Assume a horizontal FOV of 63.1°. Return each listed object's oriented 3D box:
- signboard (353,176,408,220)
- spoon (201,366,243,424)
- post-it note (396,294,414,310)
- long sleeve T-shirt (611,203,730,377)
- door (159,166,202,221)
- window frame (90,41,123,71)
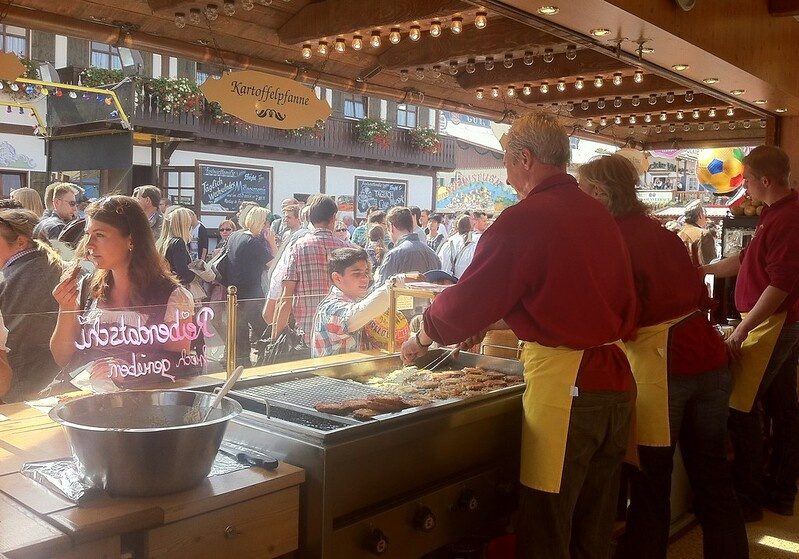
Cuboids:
[{"bbox_3d":[-0.536,-2.493,19.950,1.955,1.182,0.077,-4,9,-35],"label":"signboard"},{"bbox_3d":[-0.737,0.486,2.720,0.045,0.312,0.043,38,12,7],"label":"spoon"},{"bbox_3d":[0.039,0.146,4.238,0.025,0.086,0.124,5,5,43],"label":"post-it note"},{"bbox_3d":[1.401,0.103,3.495,0.460,0.953,0.548,-16,-6,15],"label":"long sleeve T-shirt"},{"bbox_3d":[-5.146,-2.126,15.339,0.865,0.072,1.600,-10,-27,-23],"label":"door"},{"bbox_3d":[-7.189,-5.448,15.952,0.658,0.616,1.168,-7,17,-37],"label":"window frame"}]
